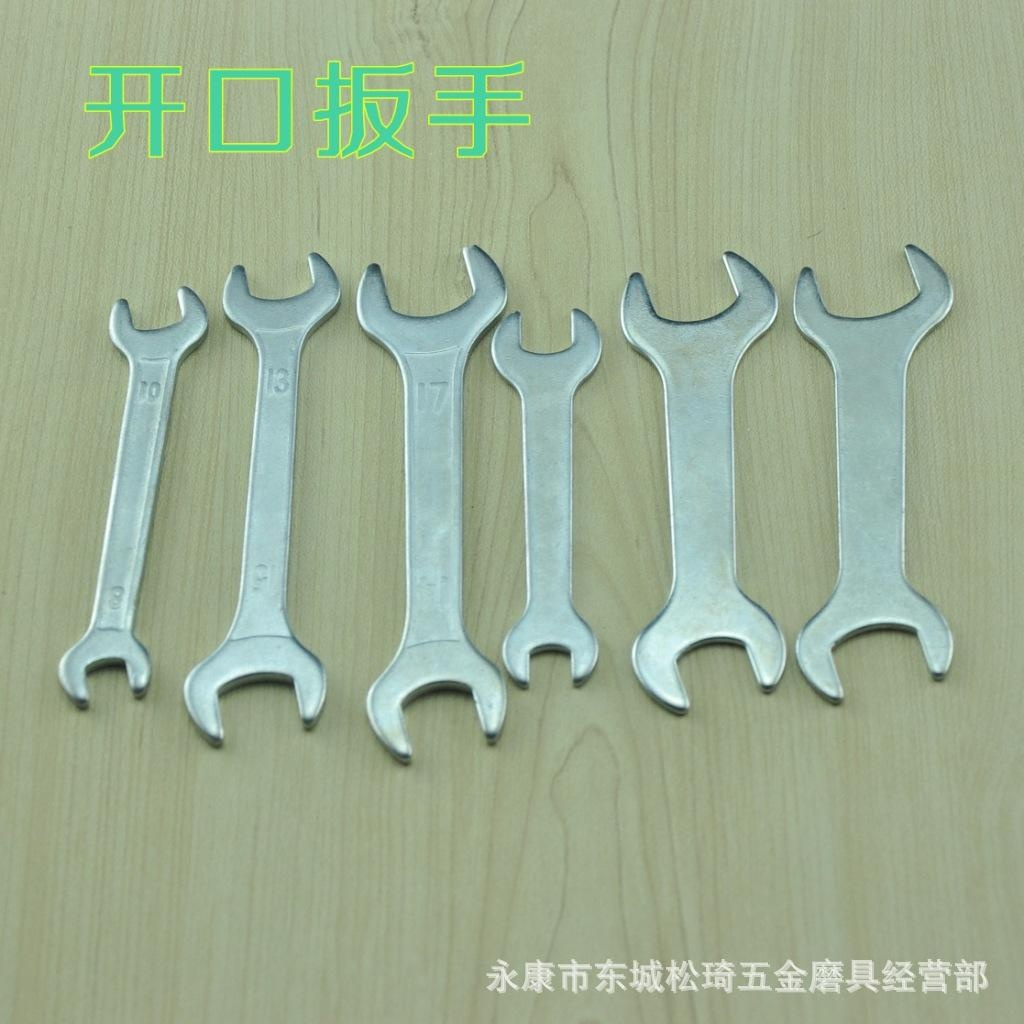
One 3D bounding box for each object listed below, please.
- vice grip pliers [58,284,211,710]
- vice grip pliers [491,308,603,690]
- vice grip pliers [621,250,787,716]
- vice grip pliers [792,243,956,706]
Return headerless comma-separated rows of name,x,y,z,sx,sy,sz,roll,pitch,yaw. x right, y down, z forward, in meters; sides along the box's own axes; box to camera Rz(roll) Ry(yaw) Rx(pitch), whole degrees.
vice grip pliers,-0.287,-0.017,1.244,0.065,0.014,0.381,2,57,-2
vice grip pliers,0.027,-0.008,1.265,0.073,0.352,0.017,-2,34,-1
vice grip pliers,0.146,-0.020,1.253,0.109,0.018,0.445,1,49,3
vice grip pliers,0.275,-0.028,1.254,0.126,0.018,0.494,-9,43,19
